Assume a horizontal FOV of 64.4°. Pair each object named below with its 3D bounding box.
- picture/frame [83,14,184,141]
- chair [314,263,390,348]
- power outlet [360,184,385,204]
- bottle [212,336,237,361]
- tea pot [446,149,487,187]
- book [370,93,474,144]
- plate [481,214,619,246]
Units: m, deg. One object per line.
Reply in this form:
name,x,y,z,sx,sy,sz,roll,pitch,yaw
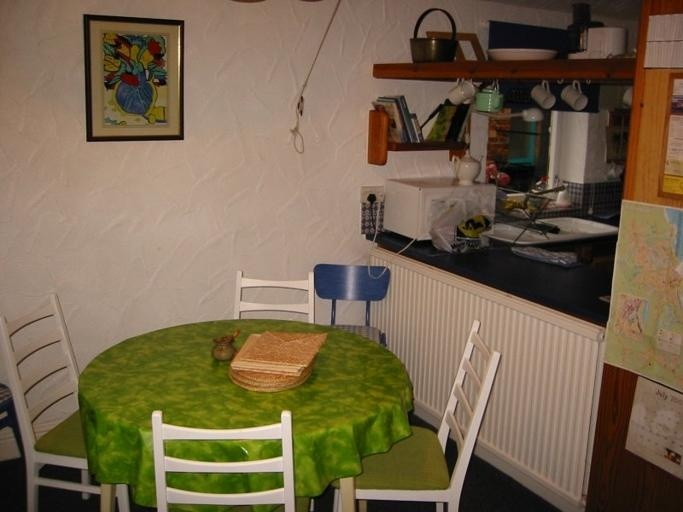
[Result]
picture/frame,-1.206,-1.032,3.064,0.706,0.878,0.064,-3,16,-23
chair,0.074,0.311,3.746,0.523,0.798,0.520,1,13,1
power outlet,0.232,-0.453,3.876,0.193,0.134,0.118,-2,15,-10
bottle,-0.537,0.418,2.511,0.112,0.101,0.115,0,2,1
tea pot,0.895,-0.625,3.905,0.286,0.315,0.227,-7,23,-18
book,0.590,-0.957,3.834,0.743,0.317,0.299,-3,13,-18
plate,1.601,-0.202,4.125,1.240,0.112,0.550,-6,14,-27
